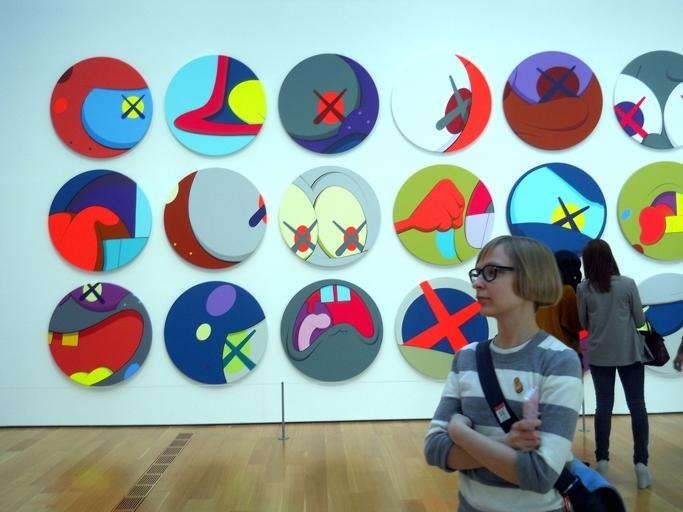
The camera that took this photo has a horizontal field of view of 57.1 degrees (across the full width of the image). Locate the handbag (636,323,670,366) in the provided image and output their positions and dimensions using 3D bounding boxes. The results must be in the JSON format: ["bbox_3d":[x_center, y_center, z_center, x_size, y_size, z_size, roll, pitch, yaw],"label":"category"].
[{"bbox_3d":[2.875,0.880,5.942,0.259,0.354,0.141,-4,13,-17],"label":"handbag"}]
